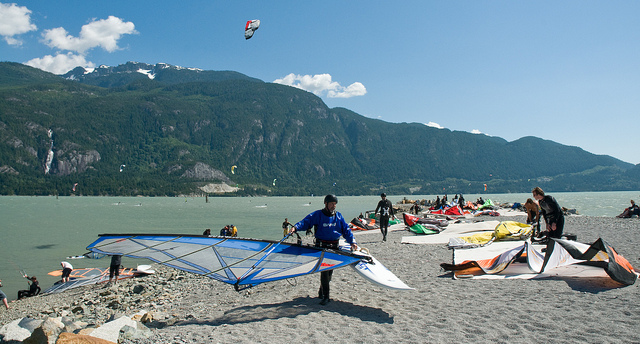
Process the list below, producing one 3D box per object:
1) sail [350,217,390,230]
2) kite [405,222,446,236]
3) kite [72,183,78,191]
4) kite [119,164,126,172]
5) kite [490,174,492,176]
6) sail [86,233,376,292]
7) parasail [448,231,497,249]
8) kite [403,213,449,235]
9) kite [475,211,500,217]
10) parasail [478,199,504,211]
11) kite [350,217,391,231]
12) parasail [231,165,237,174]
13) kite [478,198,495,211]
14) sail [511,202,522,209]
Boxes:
[{"bbox_3d":[6.731,7.384,61.972,3.824,0.947,2.510,5,7,-40],"label":"sail"},{"bbox_3d":[12.135,6.758,53.799,3.643,1.475,1.627,-3,0,17],"label":"kite"},{"bbox_3d":[-122.858,7.745,229.945,0.970,3.884,3.813,30,39,16],"label":"kite"},{"bbox_3d":[-153.200,-2.484,354.783,2.376,1.586,6.484,-28,29,-5],"label":"kite"},{"bbox_3d":[185.272,3.868,499.206,2.139,1.914,3.775,6,12,23],"label":"kite"},{"bbox_3d":[-8.262,7.413,38.190,25.409,2.995,7.189,5,-14,10],"label":"sail"},{"bbox_3d":[15.383,6.939,45.918,3.612,0.755,1.922,-17,8,-8],"label":"parasail"},{"bbox_3d":[12.646,6.005,55.717,5.381,1.810,4.076,-1,22,14],"label":"kite"},{"bbox_3d":[24.680,6.138,67.283,3.025,0.697,1.362,-3,0,19],"label":"kite"},{"bbox_3d":[27.585,5.675,74.905,3.487,1.442,4.264,0,4,10],"label":"parasail"},{"bbox_3d":[6.600,7.083,62.136,2.724,1.023,3.477,6,1,32],"label":"kite"},{"bbox_3d":[-59.912,-1.196,319.378,5.947,6.063,2.331,-4,-9,-28],"label":"parasail"},{"bbox_3d":[27.281,5.270,75.359,2.289,2.148,2.150,4,-16,6],"label":"kite"},{"bbox_3d":[34.246,6.006,80.133,1.122,1.082,5.188,-3,0,19],"label":"sail"}]
